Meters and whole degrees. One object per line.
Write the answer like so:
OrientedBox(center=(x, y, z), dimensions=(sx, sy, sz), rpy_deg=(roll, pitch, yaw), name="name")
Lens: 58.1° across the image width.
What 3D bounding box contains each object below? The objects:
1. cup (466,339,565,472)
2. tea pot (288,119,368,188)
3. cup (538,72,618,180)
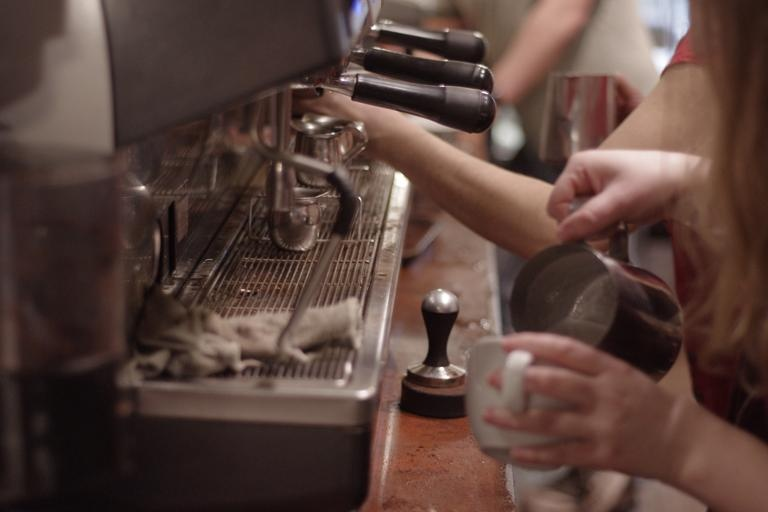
OrientedBox(center=(0.095, 0.120, 0.558), dimensions=(0.059, 0.092, 0.098), rpy_deg=(0, 7, 5), name="cup")
OrientedBox(center=(-0.067, -0.137, 0.885), dimensions=(0.108, 0.117, 0.074), rpy_deg=(4, 28, -6), name="tea pot")
OrientedBox(center=(0.278, -0.149, 1.018), dimensions=(0.103, 0.114, 0.199), rpy_deg=(0, -6, 9), name="cup")
